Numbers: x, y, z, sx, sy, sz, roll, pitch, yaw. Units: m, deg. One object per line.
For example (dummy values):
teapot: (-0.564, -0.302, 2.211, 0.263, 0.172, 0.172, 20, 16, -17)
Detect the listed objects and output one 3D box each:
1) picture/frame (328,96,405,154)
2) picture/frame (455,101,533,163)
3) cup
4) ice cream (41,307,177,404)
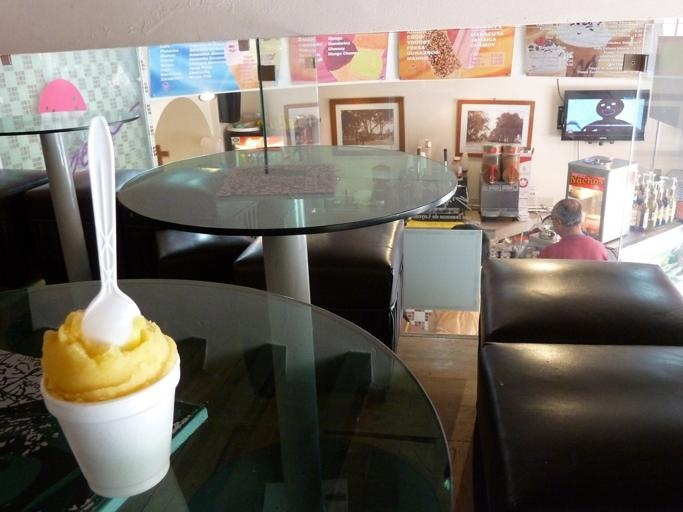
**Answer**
picture/frame: (0.153, -0.762, 2.992, 0.467, 0.327, 0.016, 6, 19, 26)
picture/frame: (0.902, -0.752, 2.983, 0.483, 0.338, 0.019, -2, 10, -7)
cup: (-0.227, 0.187, 0.580, 0.126, 0.155, 0.152, -2, 23, -12)
ice cream: (-0.238, 0.099, 0.514, 0.130, 0.074, 0.069, -5, 16, -20)
